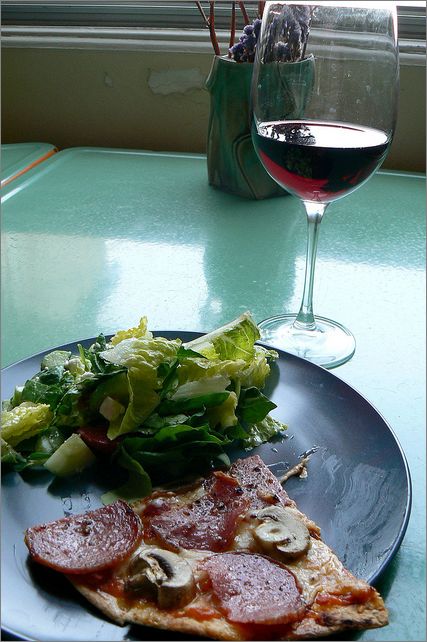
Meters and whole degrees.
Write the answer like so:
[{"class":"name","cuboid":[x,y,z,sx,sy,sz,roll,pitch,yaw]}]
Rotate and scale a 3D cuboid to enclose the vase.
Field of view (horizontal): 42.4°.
[{"class":"vase","cuboid":[0.017,-0.352,1.029,0.251,0.283,0.239,-3,33,-5]}]
